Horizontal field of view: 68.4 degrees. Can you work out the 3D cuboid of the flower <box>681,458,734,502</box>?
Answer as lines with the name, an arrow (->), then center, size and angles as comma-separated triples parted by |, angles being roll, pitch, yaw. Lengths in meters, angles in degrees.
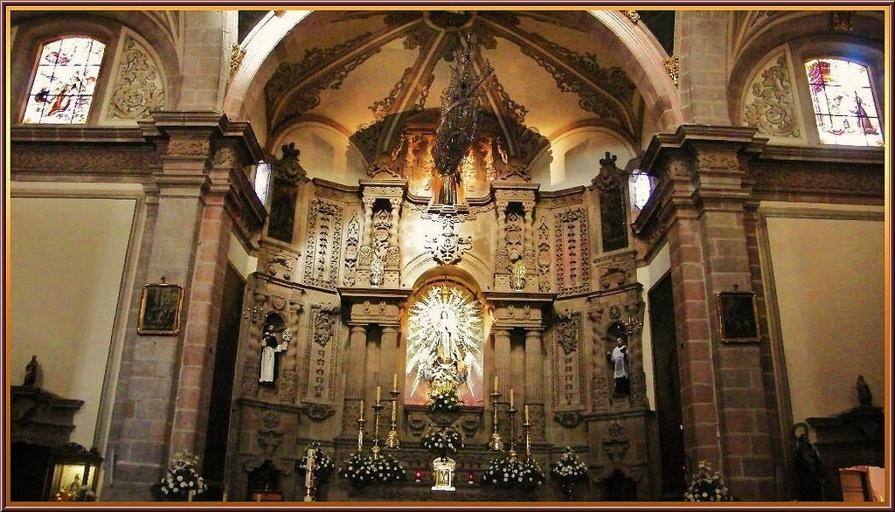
flower -> 5.004, 4.328, 12.625 | 0.843, 0.761, 0.534 | -2, -24, 9

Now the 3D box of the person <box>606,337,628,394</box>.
person -> 4.241, 2.690, 16.004 | 0.360, 1.417, 0.404 | -2, -25, 10

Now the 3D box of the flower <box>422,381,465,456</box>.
flower -> -0.072, 4.040, 16.320 | 1.012, 1.854, 0.607 | 2, -25, -1

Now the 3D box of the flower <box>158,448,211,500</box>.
flower -> -5.129, 4.299, 12.713 | 1.046, 0.904, 0.368 | 11, -41, -7
